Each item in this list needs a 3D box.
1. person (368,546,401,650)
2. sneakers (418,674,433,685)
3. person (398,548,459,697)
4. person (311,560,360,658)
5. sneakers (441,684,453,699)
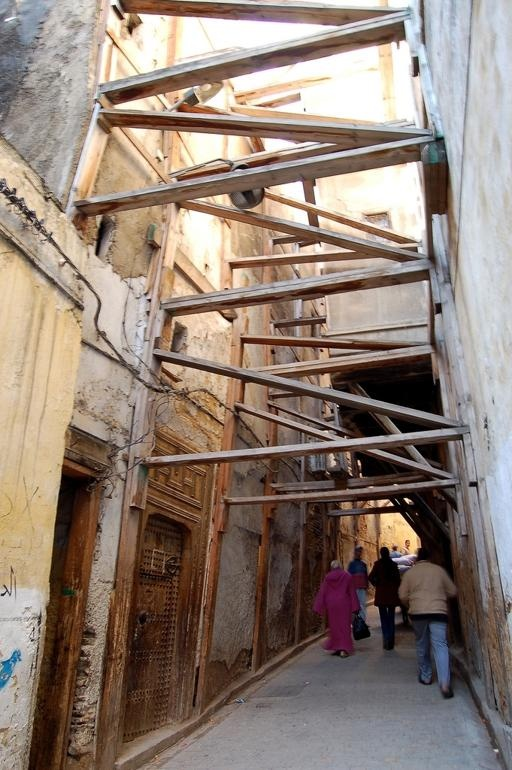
[{"bbox_3d":[2.020,3.289,7.769,0.463,1.480,0.975,-5,-18,14],"label":"person"},{"bbox_3d":[1.889,3.267,5.532,0.071,0.084,0.215,-1,-31,6],"label":"sneakers"},{"bbox_3d":[1.894,2.543,5.326,0.512,1.284,0.798,2,-18,-8],"label":"person"},{"bbox_3d":[1.227,3.383,7.575,0.650,1.388,0.837,-3,-18,7],"label":"person"},{"bbox_3d":[1.866,2.962,4.818,0.072,0.087,0.222,3,-27,7],"label":"sneakers"}]
